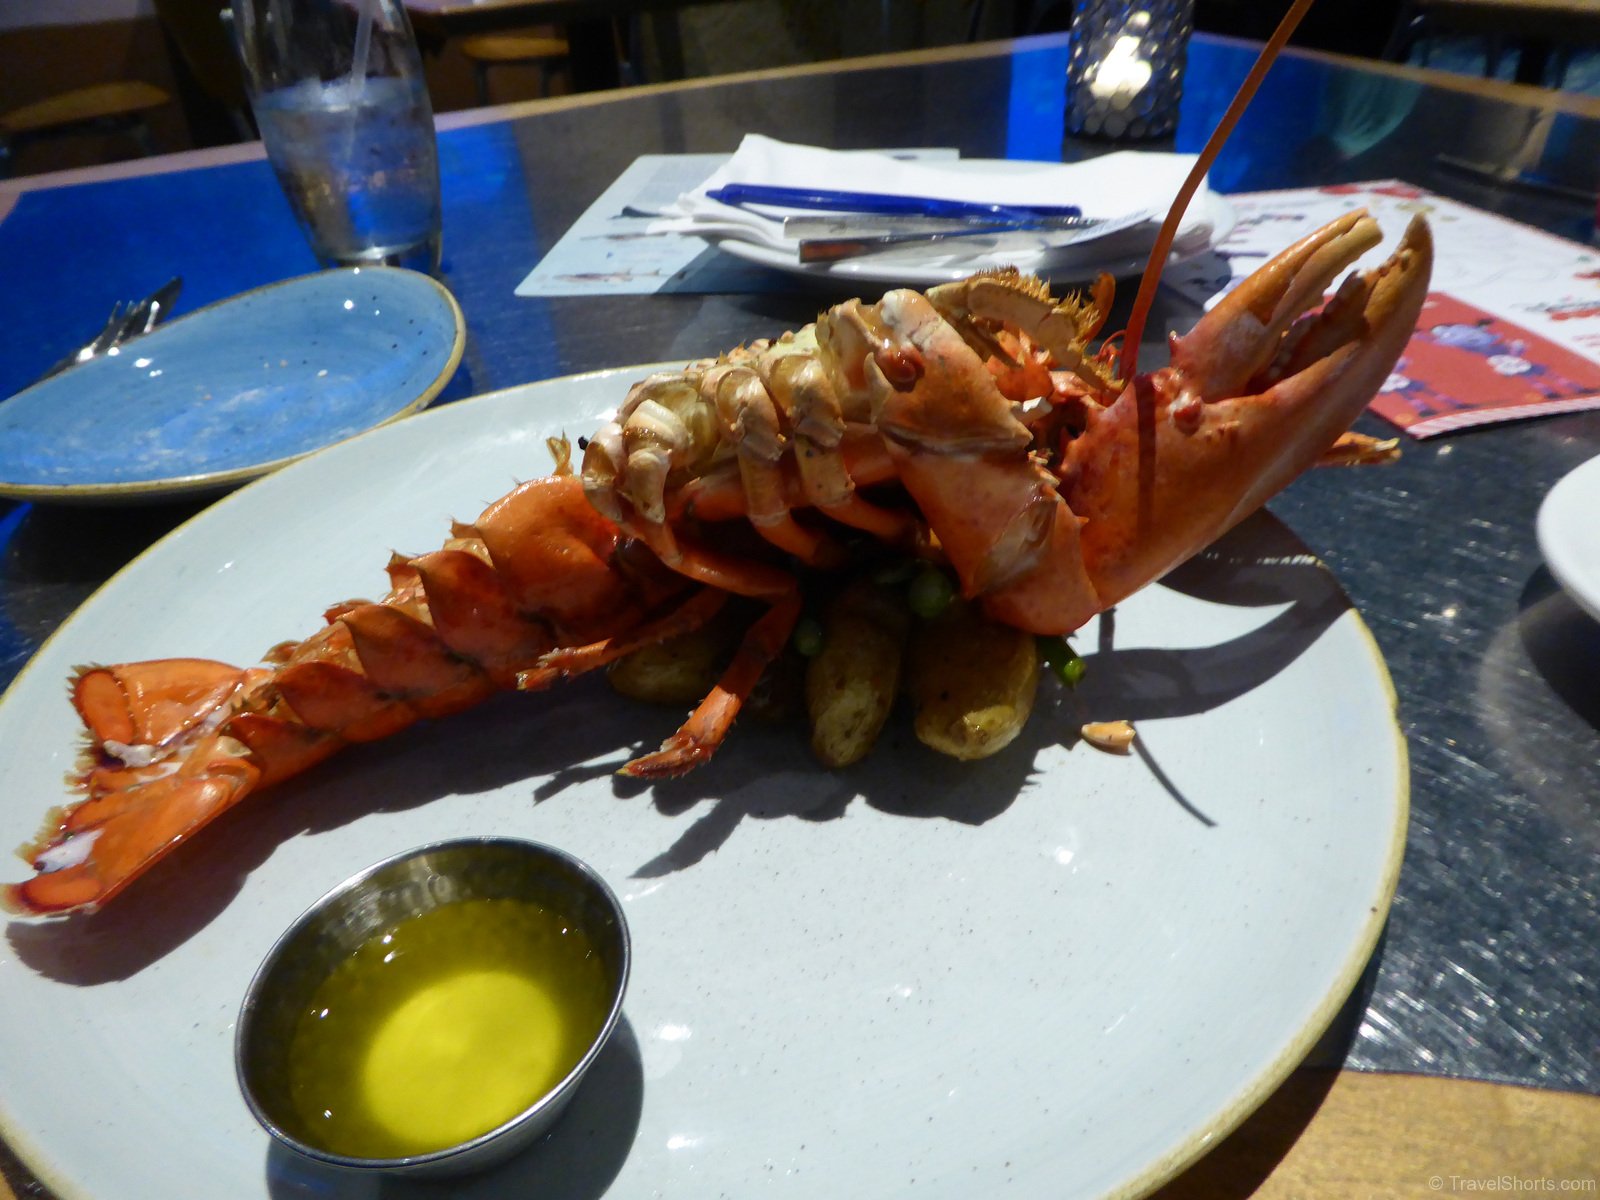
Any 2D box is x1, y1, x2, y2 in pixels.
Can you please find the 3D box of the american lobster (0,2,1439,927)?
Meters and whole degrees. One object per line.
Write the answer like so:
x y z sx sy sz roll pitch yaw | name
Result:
-0.005 -0.080 1.392 1.383 0.640 0.667 -13 49 3 | american lobster

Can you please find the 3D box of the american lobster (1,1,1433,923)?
-0.005 -0.119 1.400 1.513 0.701 0.634 -12 49 3 | american lobster

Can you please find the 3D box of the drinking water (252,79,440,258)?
-0.620 -0.593 1.715 0.216 0.273 0.227 -7 28 -9 | drinking water
